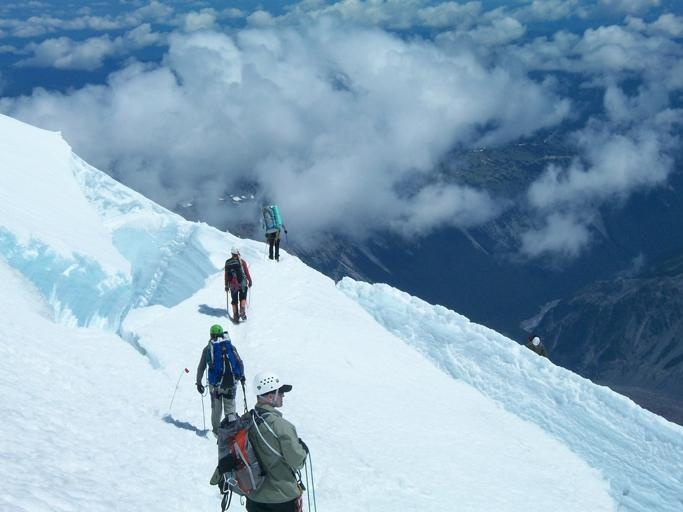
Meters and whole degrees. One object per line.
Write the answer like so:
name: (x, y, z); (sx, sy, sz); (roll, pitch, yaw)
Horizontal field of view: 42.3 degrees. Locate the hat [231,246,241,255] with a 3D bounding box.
hat: (-7.764, -0.306, 64.752); (0.439, 0.708, 0.714); (15, 17, 18)
